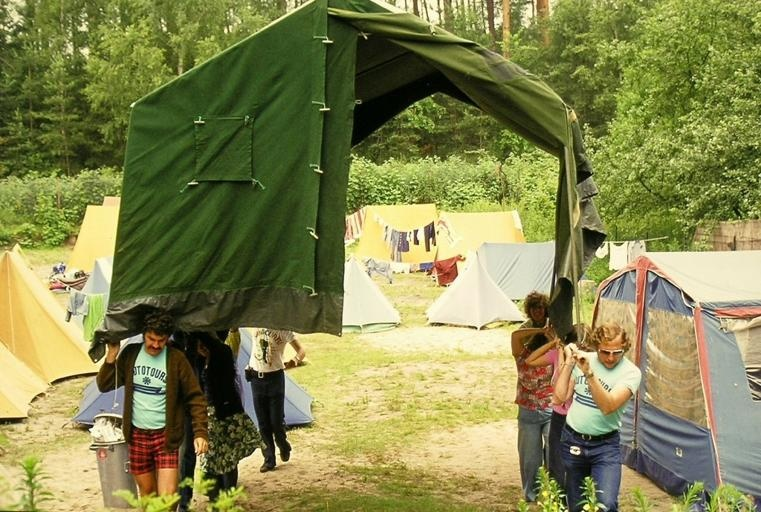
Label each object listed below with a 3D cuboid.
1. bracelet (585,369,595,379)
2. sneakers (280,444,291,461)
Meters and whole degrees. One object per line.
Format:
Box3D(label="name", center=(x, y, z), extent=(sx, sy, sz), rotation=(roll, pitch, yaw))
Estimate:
Box3D(label="bracelet", center=(3.562, 2.009, 15.886), extent=(0.110, 0.090, 0.115), rotation=(-3, 5, -11))
Box3D(label="sneakers", center=(-1.883, 3.851, 18.477), extent=(0.157, 0.409, 0.165), rotation=(0, -1, -6))
